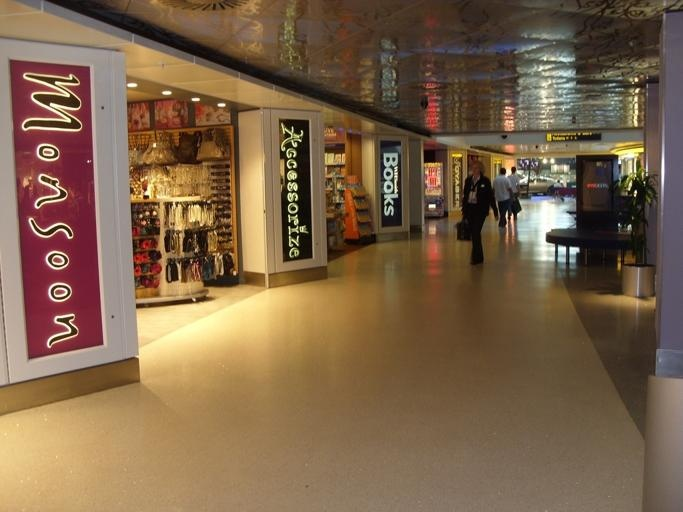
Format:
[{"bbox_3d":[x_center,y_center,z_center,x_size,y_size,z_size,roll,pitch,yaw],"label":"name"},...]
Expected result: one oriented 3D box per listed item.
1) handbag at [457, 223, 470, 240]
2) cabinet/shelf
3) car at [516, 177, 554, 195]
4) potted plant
[{"bbox_3d":[3.672,-0.751,14.982,0.404,0.755,0.522,1,-2,8],"label":"handbag"},{"bbox_3d":[-2.580,-0.662,8.110,1.017,2.783,2.712,1,5,39],"label":"cabinet/shelf"},{"bbox_3d":[17.196,-6.250,43.922,2.607,1.648,1.506,-1,9,17],"label":"car"},{"bbox_3d":[4.392,-0.374,7.253,0.681,1.873,0.666,-4,1,39],"label":"potted plant"}]
